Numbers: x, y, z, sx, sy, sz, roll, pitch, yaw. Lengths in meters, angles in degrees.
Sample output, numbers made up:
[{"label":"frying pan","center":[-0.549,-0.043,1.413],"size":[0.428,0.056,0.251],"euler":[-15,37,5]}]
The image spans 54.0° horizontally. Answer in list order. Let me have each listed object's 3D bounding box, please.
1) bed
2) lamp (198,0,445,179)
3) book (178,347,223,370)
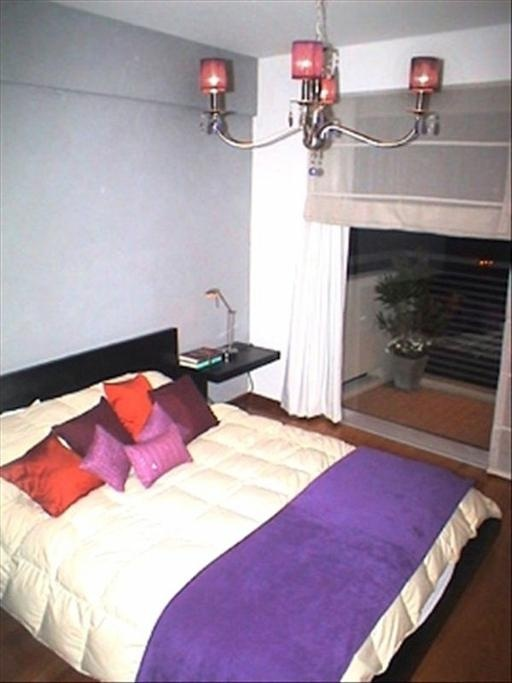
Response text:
[{"label":"bed","center":[0.189,0.785,2.324],"size":[1.673,0.621,1.587],"euler":[15,29,33]},{"label":"lamp","center":[0.374,-1.332,2.629],"size":[0.895,1.079,0.893],"euler":[-17,26,-38]},{"label":"book","center":[-0.363,0.110,3.486],"size":[0.144,0.066,0.202],"euler":[8,15,32]}]
